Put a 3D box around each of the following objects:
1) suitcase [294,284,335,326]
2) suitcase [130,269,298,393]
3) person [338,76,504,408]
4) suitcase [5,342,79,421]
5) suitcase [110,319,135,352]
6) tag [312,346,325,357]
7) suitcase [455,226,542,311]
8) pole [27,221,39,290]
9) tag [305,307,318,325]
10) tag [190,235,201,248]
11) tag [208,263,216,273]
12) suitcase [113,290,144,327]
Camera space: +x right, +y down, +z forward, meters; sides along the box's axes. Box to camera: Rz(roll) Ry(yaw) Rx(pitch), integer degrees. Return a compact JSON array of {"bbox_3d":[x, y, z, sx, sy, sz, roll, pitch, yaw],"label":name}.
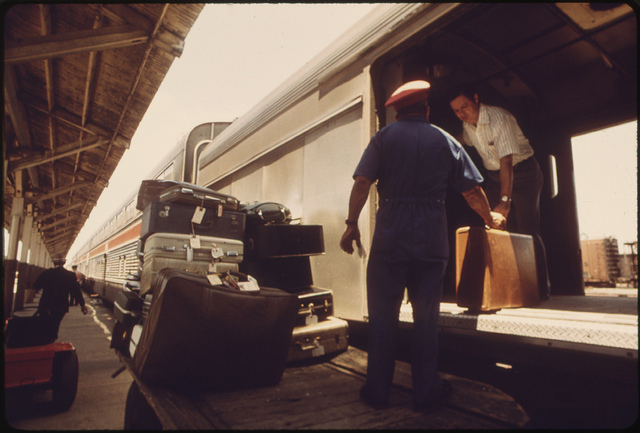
[{"bbox_3d":[-0.221,1.034,5.155,0.636,0.313,0.459,-3,2,-38],"label":"suitcase"},{"bbox_3d":[-1.019,1.242,4.439,1.551,1.149,0.839,19,-16,-41],"label":"suitcase"},{"bbox_3d":[0.881,0.195,4.114,1.211,2.883,0.860,-5,10,-31],"label":"person"},{"bbox_3d":[-3.362,2.007,5.421,0.733,0.857,0.497,-4,9,-27],"label":"suitcase"},{"bbox_3d":[-2.097,1.239,4.867,0.219,0.261,0.285,-5,26,-10],"label":"suitcase"},{"bbox_3d":[-0.023,1.451,4.787,0.144,0.098,0.077,7,-15,-33],"label":"tag"},{"bbox_3d":[1.861,0.553,4.686,1.047,0.848,0.348,6,-10,-41],"label":"suitcase"},{"bbox_3d":[-11.121,1.730,17.268,0.261,3.518,0.306,13,24,-6],"label":"pole"},{"bbox_3d":[-0.110,1.102,4.904,0.168,0.245,0.033,3,-16,-18],"label":"tag"},{"bbox_3d":[-1.360,0.274,4.828,0.093,0.130,0.038,-3,-12,-19],"label":"tag"},{"bbox_3d":[-1.204,0.569,4.928,0.103,0.108,0.025,0,0,-18],"label":"tag"},{"bbox_3d":[-2.088,0.980,4.818,0.309,0.376,0.511,4,-2,-26],"label":"suitcase"}]
